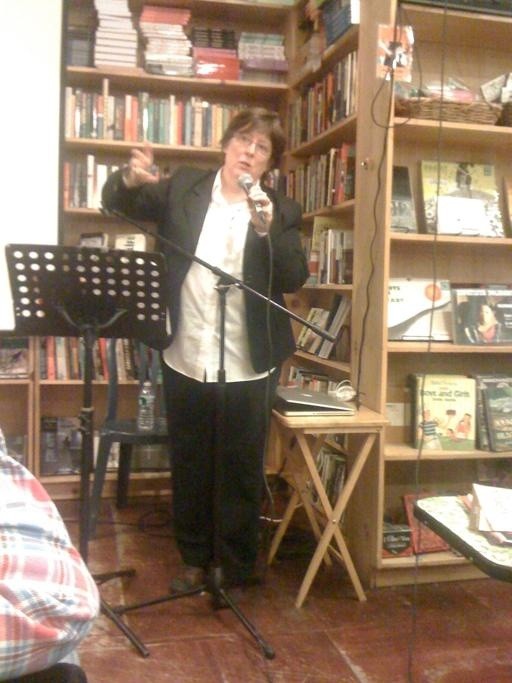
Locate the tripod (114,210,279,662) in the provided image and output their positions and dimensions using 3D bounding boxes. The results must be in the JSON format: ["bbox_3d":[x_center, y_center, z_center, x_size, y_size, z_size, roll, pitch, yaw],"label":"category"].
[{"bbox_3d":[-0.174,0.224,1.817,0.473,1.172,0.461,1,4,0],"label":"tripod"}]

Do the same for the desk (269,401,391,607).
[{"bbox_3d":[0.187,0.448,2.301,0.432,0.908,0.763,0,3,-8],"label":"desk"}]

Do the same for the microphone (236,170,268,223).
[{"bbox_3d":[-0.014,-0.360,1.571,0.061,0.137,0.166,1,4,-6],"label":"microphone"}]

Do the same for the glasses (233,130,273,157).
[{"bbox_3d":[-0.010,-0.566,1.811,0.115,0.070,0.055,1,4,-8],"label":"glasses"}]
